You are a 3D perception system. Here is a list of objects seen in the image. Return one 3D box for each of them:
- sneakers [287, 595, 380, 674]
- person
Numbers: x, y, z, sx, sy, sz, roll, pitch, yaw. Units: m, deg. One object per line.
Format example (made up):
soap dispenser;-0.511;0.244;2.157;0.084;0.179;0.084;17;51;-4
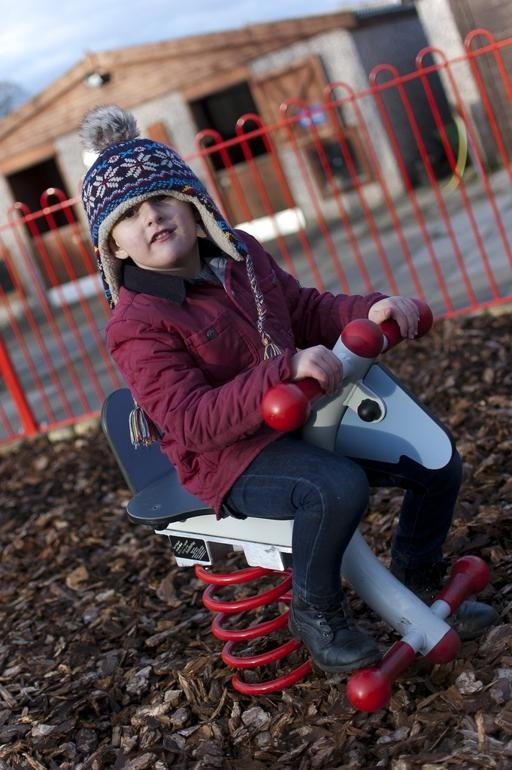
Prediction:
sneakers;0.140;0.460;1.374;0.096;0.098;0.218;-17;20;-33
person;0.028;-0.037;1.519;0.736;1.140;0.564;1;27;31
